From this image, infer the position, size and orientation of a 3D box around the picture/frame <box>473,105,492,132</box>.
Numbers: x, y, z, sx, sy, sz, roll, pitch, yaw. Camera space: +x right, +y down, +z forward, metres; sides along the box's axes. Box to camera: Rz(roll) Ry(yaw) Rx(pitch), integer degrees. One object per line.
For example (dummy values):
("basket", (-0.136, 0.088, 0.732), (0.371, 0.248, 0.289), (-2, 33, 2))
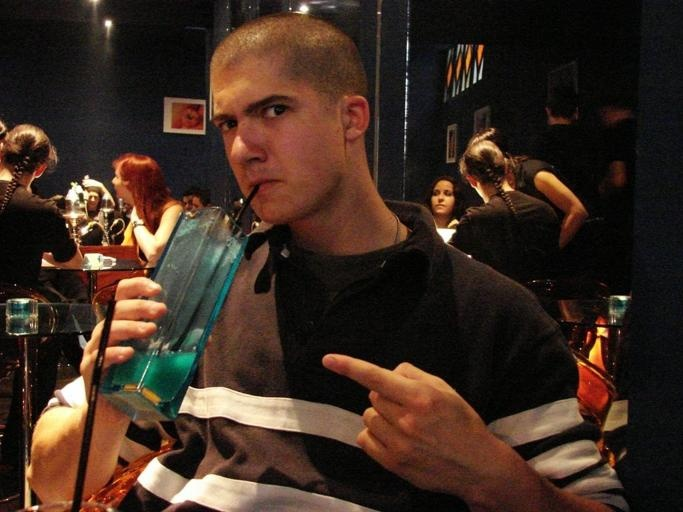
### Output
("picture/frame", (0.480, -0.467, 2.037), (0.010, 0.100, 0.101), (-3, 3, -25))

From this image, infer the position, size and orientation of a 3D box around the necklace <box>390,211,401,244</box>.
("necklace", (0.134, -0.063, 1.453), (0.014, 0.053, 0.055), (0, -18, -14))

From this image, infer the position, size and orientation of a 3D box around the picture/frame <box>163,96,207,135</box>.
("picture/frame", (-2.261, -1.995, 8.530), (0.539, 0.607, 0.062), (10, -6, -29))
